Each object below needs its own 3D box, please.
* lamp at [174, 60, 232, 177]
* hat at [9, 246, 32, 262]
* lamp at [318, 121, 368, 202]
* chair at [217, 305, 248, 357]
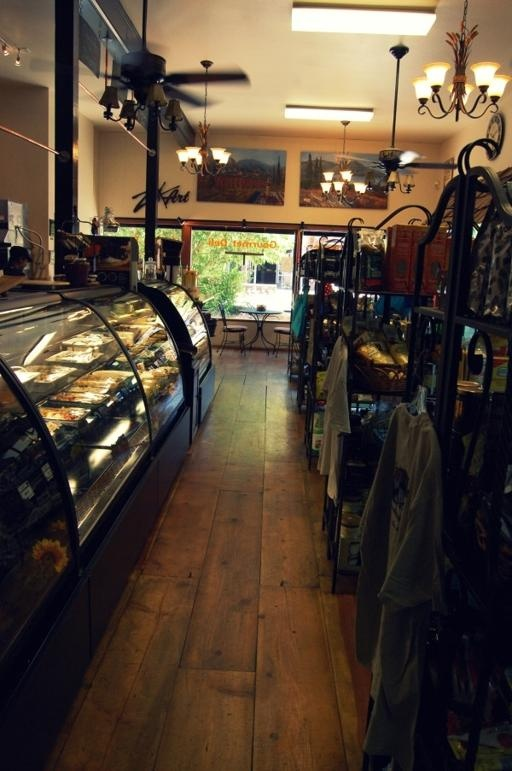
[{"bbox_3d":[-0.696,-3.642,6.960,0.567,1.560,0.668,1,2,3],"label":"lamp"},{"bbox_3d":[-0.999,-0.555,2.176,0.085,0.069,0.117,0,8,-26],"label":"hat"},{"bbox_3d":[1.392,-3.550,8.204,0.584,1.258,0.648,-3,26,-4],"label":"lamp"},{"bbox_3d":[-0.480,-1.114,10.167,0.725,1.432,0.703,-1,13,-3],"label":"chair"}]
